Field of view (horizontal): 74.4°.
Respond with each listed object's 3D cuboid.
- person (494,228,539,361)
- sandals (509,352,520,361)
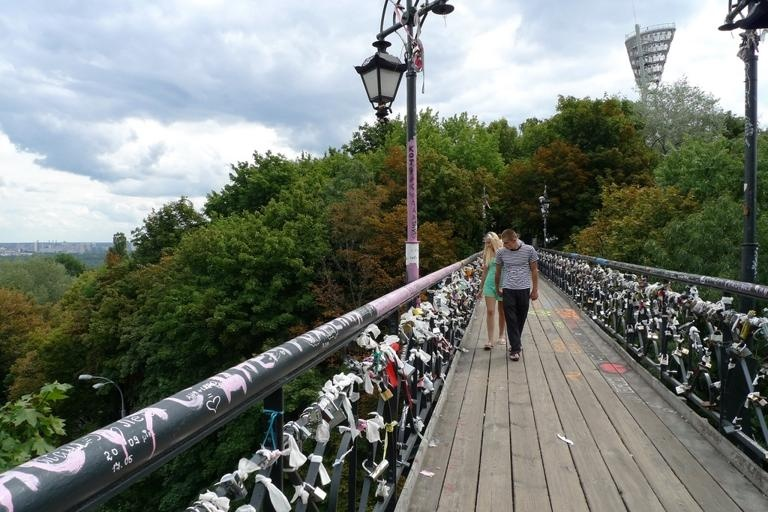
[{"bbox_3d":[1.938,0.535,7.527,0.510,1.862,0.619,-2,8,-18],"label":"person"},{"bbox_3d":[1.915,1.434,7.383,0.163,0.122,0.176,1,8,6],"label":"sandals"}]
